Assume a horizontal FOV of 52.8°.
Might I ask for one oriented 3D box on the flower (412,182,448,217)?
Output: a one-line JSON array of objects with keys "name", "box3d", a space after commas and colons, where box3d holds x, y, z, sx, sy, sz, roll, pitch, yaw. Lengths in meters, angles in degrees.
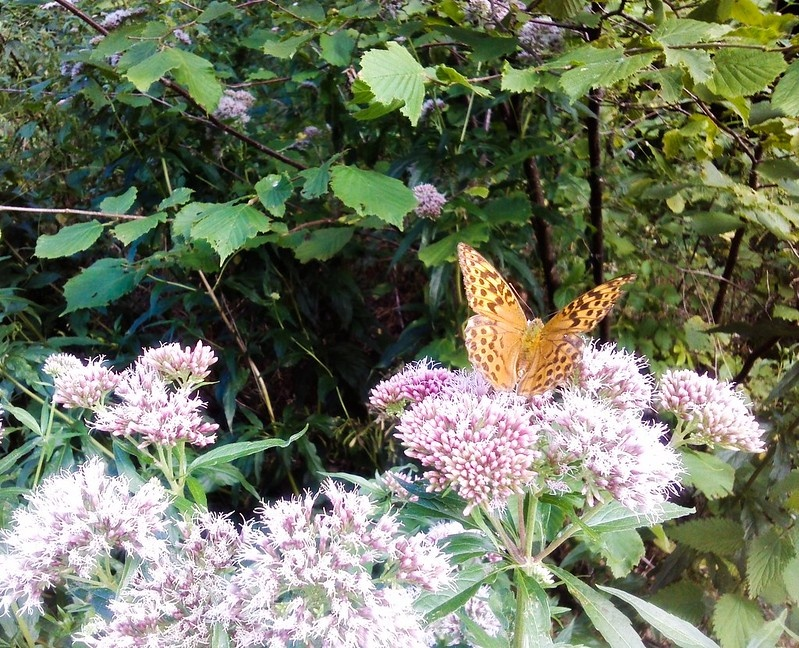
[{"name": "flower", "box3d": [0.142, -0.542, 3.558, 0.150, 0.143, 0.147, -23, -12, 40]}]
